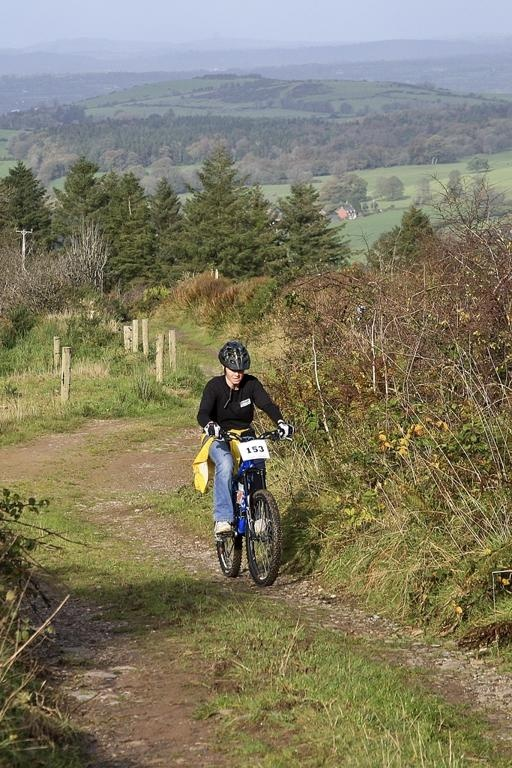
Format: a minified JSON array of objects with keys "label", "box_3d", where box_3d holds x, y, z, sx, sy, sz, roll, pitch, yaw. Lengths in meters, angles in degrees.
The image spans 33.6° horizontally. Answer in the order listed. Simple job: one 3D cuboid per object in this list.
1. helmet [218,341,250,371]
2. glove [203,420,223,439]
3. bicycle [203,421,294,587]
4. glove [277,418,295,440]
[{"label":"helmet","box_3d":[-0.179,-0.216,7.218,0.200,0.136,0.281,-5,39,-20]},{"label":"glove","box_3d":[-0.356,0.386,7.045,0.117,0.073,0.161,9,8,-14]},{"label":"bicycle","box_3d":[-0.075,1.080,7.313,0.506,1.360,1.193,1,1,-17]},{"label":"glove","box_3d":[0.262,0.395,7.252,0.131,0.156,0.263,2,1,2]}]
